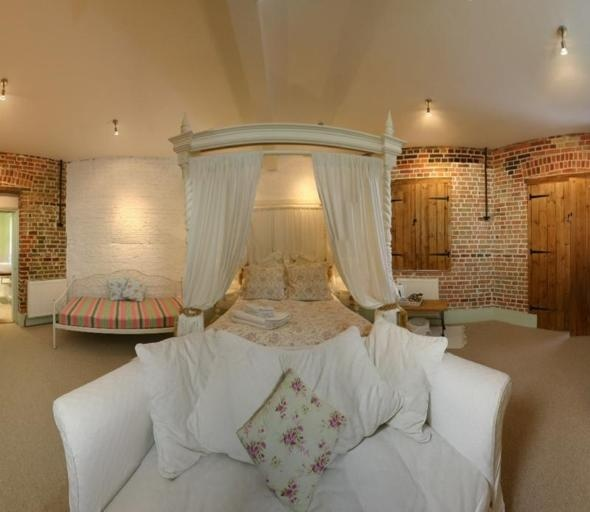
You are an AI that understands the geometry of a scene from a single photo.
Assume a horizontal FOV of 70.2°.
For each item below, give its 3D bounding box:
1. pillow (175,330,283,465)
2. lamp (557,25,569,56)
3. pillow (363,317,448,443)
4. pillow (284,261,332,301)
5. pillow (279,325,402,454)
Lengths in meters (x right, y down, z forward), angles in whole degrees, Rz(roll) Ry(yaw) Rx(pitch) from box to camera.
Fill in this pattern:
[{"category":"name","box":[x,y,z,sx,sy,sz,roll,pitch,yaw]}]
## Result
[{"category":"pillow","box":[-0.410,0.953,2.894,0.588,0.657,0.171,16,-12,5]},{"category":"lamp","box":[2.567,-2.075,4.032,0.089,0.211,0.378,8,15,35]},{"category":"pillow","box":[0.806,0.909,3.033,0.606,0.681,0.192,7,-20,42]},{"category":"pillow","box":[0.154,0.300,5.049,0.419,0.467,0.143,-1,-23,5]},{"category":"pillow","box":[0.395,0.990,3.088,0.680,0.722,0.217,-30,-29,-5]}]
